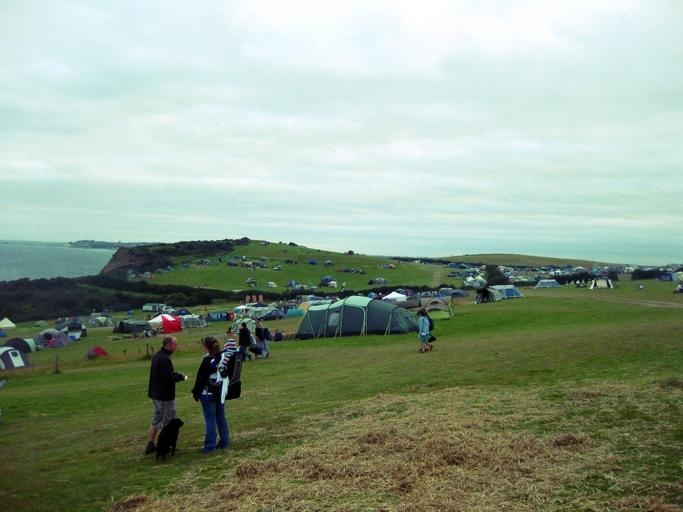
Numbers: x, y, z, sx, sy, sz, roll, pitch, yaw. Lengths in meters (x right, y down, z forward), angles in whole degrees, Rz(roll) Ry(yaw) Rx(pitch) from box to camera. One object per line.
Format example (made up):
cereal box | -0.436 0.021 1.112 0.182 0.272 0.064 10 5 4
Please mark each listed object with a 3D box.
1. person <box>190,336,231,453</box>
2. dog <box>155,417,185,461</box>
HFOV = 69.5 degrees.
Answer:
person | -3.360 3.514 12.706 0.803 3.006 0.650 -2 5 -7
dog | -4.561 4.734 12.832 0.535 0.760 1.190 0 -4 9
